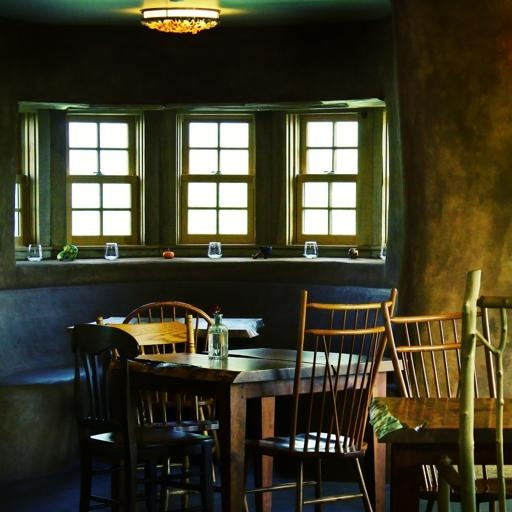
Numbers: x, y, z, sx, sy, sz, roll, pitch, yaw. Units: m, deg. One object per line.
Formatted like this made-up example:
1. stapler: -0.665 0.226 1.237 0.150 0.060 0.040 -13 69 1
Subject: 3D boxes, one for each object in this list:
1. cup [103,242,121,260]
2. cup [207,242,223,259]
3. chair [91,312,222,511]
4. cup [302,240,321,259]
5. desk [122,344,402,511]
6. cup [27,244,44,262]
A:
1. cup: -1.166 -0.039 5.337 0.096 0.135 0.124 1 2 -8
2. cup: -0.345 -0.051 5.426 0.104 0.127 0.119 1 -3 7
3. chair: -0.471 0.577 3.260 0.621 0.984 0.577 11 -18 -26
4. cup: 0.456 -0.055 5.352 0.110 0.183 0.117 1 -4 0
5. desk: -0.037 0.596 2.891 0.793 0.807 0.804 6 -9 -37
6. cup: -1.719 -0.026 5.160 0.103 0.174 0.115 0 -3 -4
